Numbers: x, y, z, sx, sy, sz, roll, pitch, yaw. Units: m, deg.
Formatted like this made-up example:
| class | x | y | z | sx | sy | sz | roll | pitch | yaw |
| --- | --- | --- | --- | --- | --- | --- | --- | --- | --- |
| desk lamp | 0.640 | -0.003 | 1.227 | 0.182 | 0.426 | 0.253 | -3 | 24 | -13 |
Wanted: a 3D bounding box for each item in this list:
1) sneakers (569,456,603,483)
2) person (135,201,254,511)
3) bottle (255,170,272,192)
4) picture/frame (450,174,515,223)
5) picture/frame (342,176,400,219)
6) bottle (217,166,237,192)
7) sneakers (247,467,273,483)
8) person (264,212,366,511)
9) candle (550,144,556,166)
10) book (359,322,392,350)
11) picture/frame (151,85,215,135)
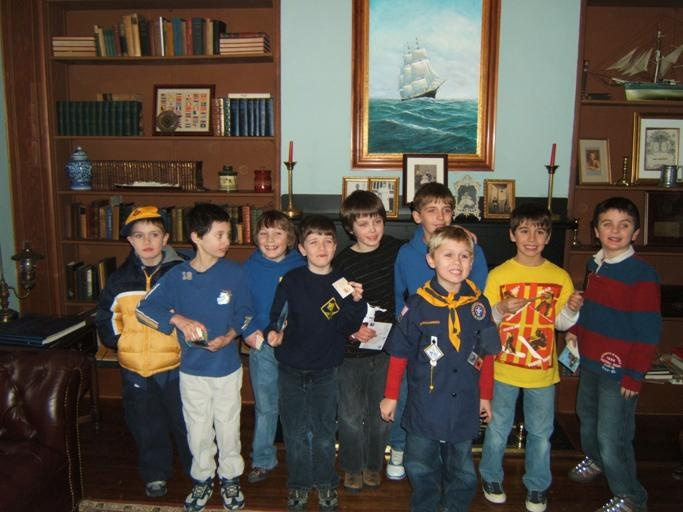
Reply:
| class | x | y | z | sx | sy | sz | roll | pitch | yaw |
| --- | --- | --- | --- | --- | --- | --- | --- | --- | --- |
| sneakers | 1.516 | 1.334 | 4.028 | 0.216 | 0.097 | 0.105 | -2 | 15 | -8 |
| person | -0.820 | 0.592 | 3.755 | 0.586 | 1.782 | 0.364 | -4 | 6 | -25 |
| bottle | -0.596 | -0.572 | 4.936 | 0.138 | 0.181 | 0.132 | -1 | 5 | 0 |
| picture/frame | 1.041 | -0.410 | 4.741 | 0.411 | 0.328 | 0.020 | 1 | -3 | 2 |
| picture/frame | 0.203 | -0.394 | 4.385 | 0.363 | 0.275 | 0.027 | 0 | -1 | 1 |
| bottle | -0.876 | -0.594 | 4.966 | 0.126 | 0.198 | 0.146 | -3 | 6 | -15 |
| sneakers | -0.508 | 1.356 | 3.984 | 0.061 | 0.056 | 0.133 | 1 | -7 | 43 |
| person | -0.137 | 0.627 | 3.782 | 0.573 | 1.721 | 0.244 | -2 | 5 | -7 |
| candle | 1.549 | -0.743 | 4.725 | 0.047 | 0.169 | 0.239 | 1 | 6 | 18 |
| book | 0.217 | 0.480 | 3.800 | 0.176 | 0.161 | 0.041 | 11 | 10 | -12 |
| picture/frame | -1.217 | -1.136 | 5.041 | 0.413 | 0.349 | 0.040 | 0 | -1 | 2 |
